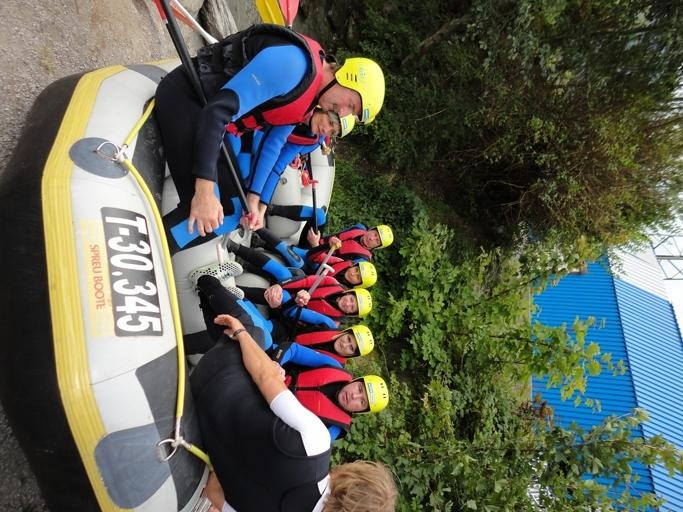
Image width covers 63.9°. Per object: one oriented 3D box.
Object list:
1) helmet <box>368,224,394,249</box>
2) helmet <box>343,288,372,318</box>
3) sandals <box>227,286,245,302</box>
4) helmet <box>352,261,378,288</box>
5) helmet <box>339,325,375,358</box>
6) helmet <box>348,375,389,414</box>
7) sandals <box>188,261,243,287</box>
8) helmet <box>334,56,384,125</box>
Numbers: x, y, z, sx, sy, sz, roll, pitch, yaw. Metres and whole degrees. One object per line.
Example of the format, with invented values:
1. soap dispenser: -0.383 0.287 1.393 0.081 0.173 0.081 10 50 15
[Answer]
1. helmet: 0.553 -0.245 7.182 0.260 0.306 0.230 5 82 -17
2. helmet: 0.218 0.553 6.473 0.283 0.249 0.322 -1 5 -5
3. sandals: -0.943 0.345 4.913 0.131 0.050 0.099 16 -13 37
4. helmet: 0.289 0.235 6.695 0.278 0.307 0.234 0 59 -8
5. helmet: 0.179 0.901 6.112 0.305 0.272 0.354 -16 12 4
6. helmet: 0.305 1.400 5.701 0.335 0.304 0.395 -10 9 15
7. sandals: -1.082 0.125 4.868 0.507 0.176 0.216 -15 34 -32
8. helmet: 0.148 -1.320 4.323 0.381 0.342 0.488 -2 76 12
